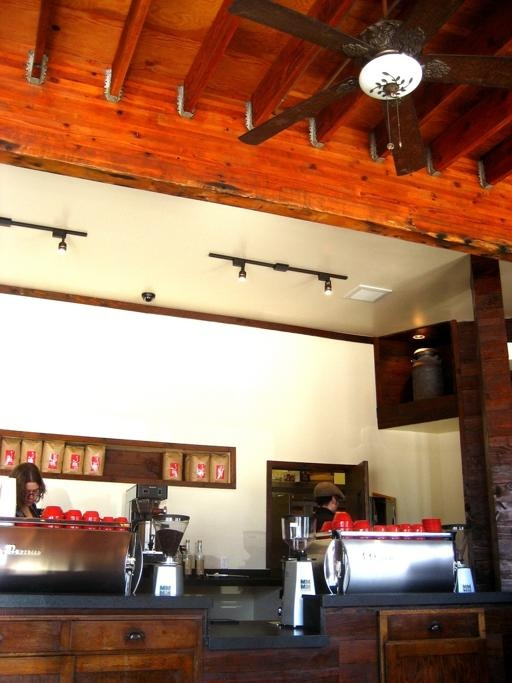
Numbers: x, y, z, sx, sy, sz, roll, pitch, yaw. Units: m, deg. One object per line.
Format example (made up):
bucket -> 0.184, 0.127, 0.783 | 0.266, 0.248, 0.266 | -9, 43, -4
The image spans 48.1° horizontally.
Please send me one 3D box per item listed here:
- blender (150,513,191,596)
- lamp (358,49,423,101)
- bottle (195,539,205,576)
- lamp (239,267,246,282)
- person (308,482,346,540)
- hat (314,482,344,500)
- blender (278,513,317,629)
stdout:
blender -> -0.407, 1.022, 2.692 | 0.191, 0.353, 0.185 | -6, -24, 11
lamp -> 0.460, -0.921, 2.002 | 0.213, 0.061, 0.206 | -9, -15, 42
bottle -> -0.475, 1.866, 4.922 | 0.087, 0.249, 0.301 | 2, -11, -5
lamp -> -0.107, -0.530, 4.625 | 0.072, 0.117, 0.120 | 1, -22, 0
person -> 0.637, 1.511, 5.147 | 0.243, 0.449, 0.704 | 0, -11, 7
hat -> 0.672, 1.349, 5.200 | 0.227, 0.106, 0.161 | 1, -12, -23
blender -> 0.204, 1.148, 2.858 | 0.185, 0.510, 0.353 | 0, -12, 5
